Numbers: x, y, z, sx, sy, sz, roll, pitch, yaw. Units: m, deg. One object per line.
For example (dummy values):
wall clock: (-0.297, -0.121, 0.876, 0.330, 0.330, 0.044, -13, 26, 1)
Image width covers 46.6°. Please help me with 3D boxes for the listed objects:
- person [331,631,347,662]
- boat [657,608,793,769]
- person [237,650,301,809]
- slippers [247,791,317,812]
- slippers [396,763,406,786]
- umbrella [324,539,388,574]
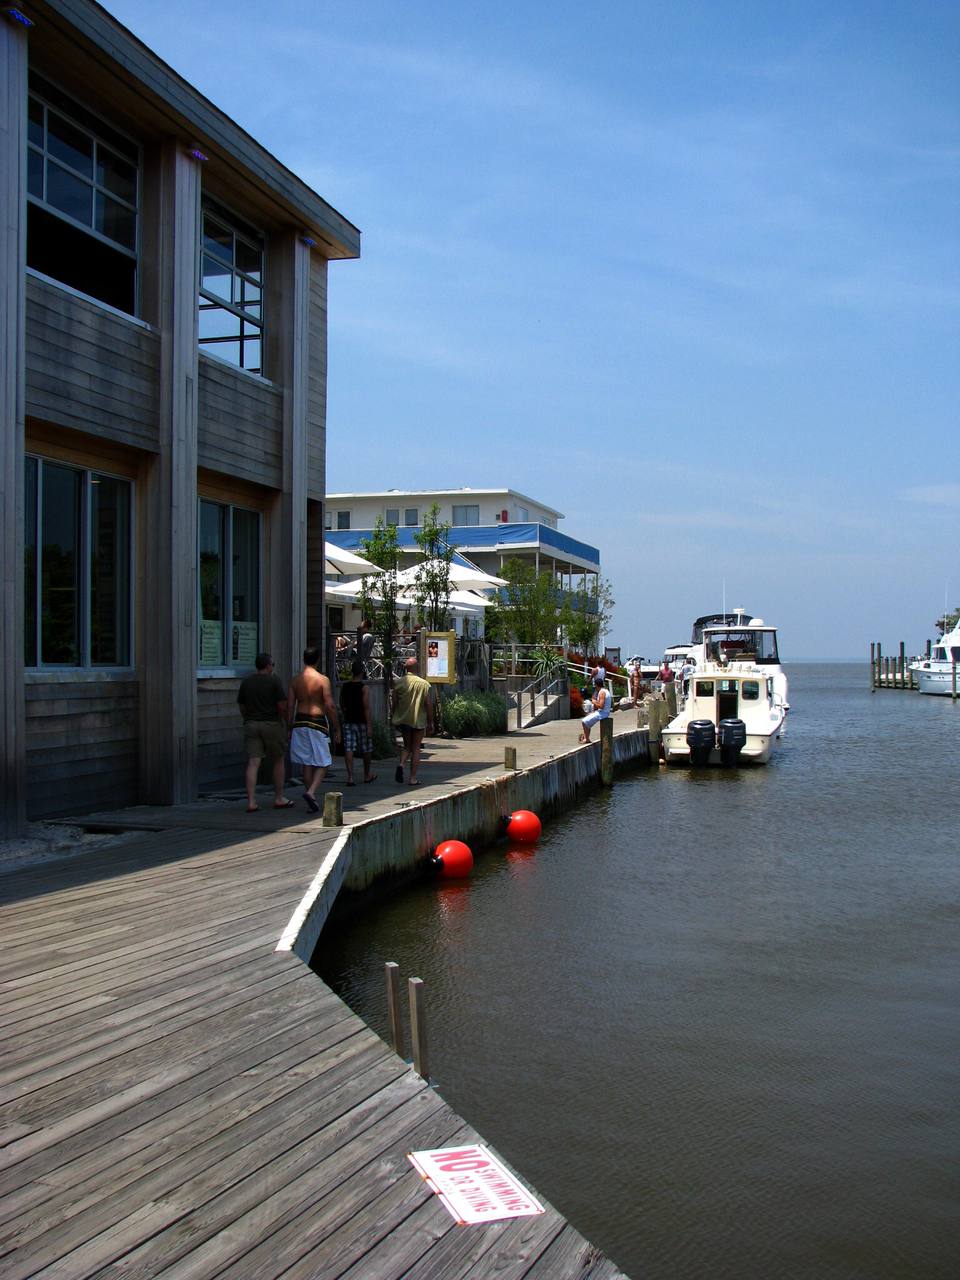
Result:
person: (-2.830, 0.139, 22.260, 0.347, 0.620, 1.257, -1, 2, -6)
boat: (6.851, 1.219, 32.671, 3.529, 5.037, 12.024, -1, -2, 11)
person: (-2.392, 1.011, 12.301, 0.527, 1.245, 0.691, -1, 1, -13)
slippers: (-2.246, 1.834, 12.589, 0.728, 0.335, 0.242, -3, -8, 3)
slippers: (-1.100, 1.841, 15.289, 0.087, 0.302, 0.111, -1, 6, 2)
umbrella: (-2.837, -1.696, 24.000, 1.075, 0.429, 0.911, 3, -4, 13)
